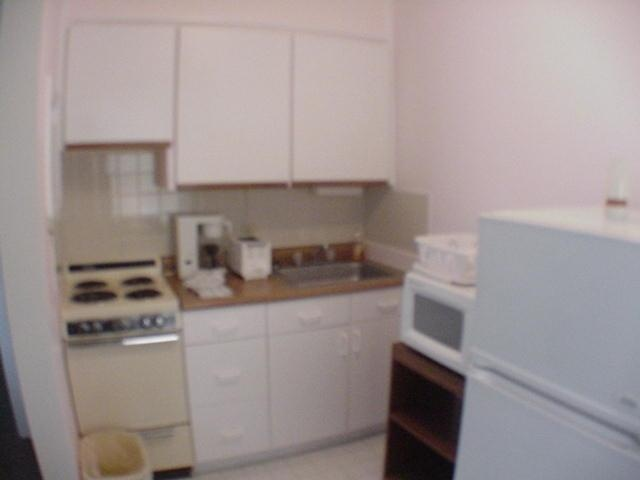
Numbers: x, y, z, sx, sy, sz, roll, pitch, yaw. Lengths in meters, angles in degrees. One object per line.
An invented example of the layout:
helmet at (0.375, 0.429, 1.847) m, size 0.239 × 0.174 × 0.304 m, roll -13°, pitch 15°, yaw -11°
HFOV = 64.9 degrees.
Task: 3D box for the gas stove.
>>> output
gas stove at (-0.968, 0.296, 2.442) m, size 0.493 × 0.206 × 0.691 m, roll -5°, pitch 11°, yaw -28°

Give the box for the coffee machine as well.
coffee machine at (-0.648, 0.027, 2.784) m, size 0.309 × 0.340 × 0.219 m, roll -2°, pitch 9°, yaw -17°

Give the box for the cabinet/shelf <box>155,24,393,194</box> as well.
cabinet/shelf at (-0.245, -0.771, 2.969) m, size 1.233 × 0.832 × 0.643 m, roll -3°, pitch 16°, yaw -19°

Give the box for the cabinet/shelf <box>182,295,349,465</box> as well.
cabinet/shelf at (-0.282, 0.678, 2.648) m, size 0.835 × 0.778 × 0.335 m, roll -4°, pitch 6°, yaw -22°

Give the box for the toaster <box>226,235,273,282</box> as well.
toaster at (-0.381, 0.097, 2.772) m, size 0.220 × 0.205 × 0.262 m, roll -3°, pitch 9°, yaw -18°
